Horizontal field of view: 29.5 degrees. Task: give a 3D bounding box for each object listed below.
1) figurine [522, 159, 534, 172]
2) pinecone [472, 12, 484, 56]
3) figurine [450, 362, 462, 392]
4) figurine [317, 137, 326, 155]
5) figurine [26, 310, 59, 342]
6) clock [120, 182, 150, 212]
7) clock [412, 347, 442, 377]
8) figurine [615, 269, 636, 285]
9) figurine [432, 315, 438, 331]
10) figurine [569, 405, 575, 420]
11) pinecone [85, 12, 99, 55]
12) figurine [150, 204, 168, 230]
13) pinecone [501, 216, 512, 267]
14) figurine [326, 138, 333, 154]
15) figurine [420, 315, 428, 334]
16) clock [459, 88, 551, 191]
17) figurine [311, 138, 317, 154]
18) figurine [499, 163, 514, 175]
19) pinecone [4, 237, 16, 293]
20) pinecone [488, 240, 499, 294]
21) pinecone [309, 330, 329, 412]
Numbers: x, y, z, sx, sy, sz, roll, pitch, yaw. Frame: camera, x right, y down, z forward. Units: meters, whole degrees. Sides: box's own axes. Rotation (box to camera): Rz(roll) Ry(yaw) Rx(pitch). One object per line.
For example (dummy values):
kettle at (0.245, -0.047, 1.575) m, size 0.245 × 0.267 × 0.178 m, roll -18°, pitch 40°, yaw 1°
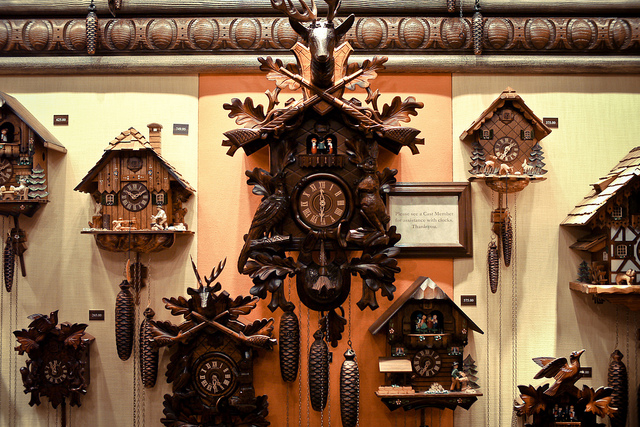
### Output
figurine at (1.779, -0.423, 10.532) m, size 0.085 × 0.108 × 0.060 m, roll -8°, pitch -14°, yaw 31°
pinecone at (1.371, -1.568, 10.657) m, size 0.083 × 0.339 × 0.172 m, roll -2°, pitch -12°, yaw 8°
figurine at (1.152, 1.391, 10.374) m, size 0.103 × 0.242 × 0.035 m, roll -1°, pitch -12°, yaw 5°
figurine at (0.018, -0.581, 10.429) m, size 0.069 × 0.139 × 0.031 m, roll 0°, pitch -11°, yaw -1°
figurine at (-2.380, 0.972, 10.556) m, size 0.238 × 0.143 × 0.258 m, roll -5°, pitch -25°, yaw 18°
clock at (-1.570, -0.135, 10.492) m, size 0.243 × 0.248 × 0.043 m, roll 2°, pitch -2°, yaw 6°
clock at (0.904, 1.268, 10.371) m, size 0.233 × 0.237 × 0.069 m, roll 2°, pitch -4°, yaw -1°
figurine at (2.576, 0.533, 10.356) m, size 0.164 × 0.180 × 0.093 m, roll 1°, pitch -7°, yaw 8°
figurine at (0.975, 0.931, 10.368) m, size 0.044 × 0.130 × 0.032 m, roll -1°, pitch -12°, yaw 4°
figurine at (2.137, 1.699, 10.404) m, size 0.043 × 0.115 × 0.016 m, roll -2°, pitch -12°, yaw 11°
pinecone at (-1.979, -1.578, 10.673) m, size 0.121 × 0.346 × 0.187 m, roll 2°, pitch -12°, yaw -12°
figurine at (-1.364, 0.028, 10.469) m, size 0.141 × 0.218 × 0.065 m, roll 1°, pitch -12°, yaw -7°
pinecone at (1.622, 0.251, 10.633) m, size 0.094 × 0.409 × 0.177 m, roll -2°, pitch -12°, yaw 8°
figurine at (0.084, -0.579, 10.424) m, size 0.053 × 0.136 × 0.040 m, roll 0°, pitch -12°, yaw 0°
figurine at (0.880, 0.941, 10.363) m, size 0.064 × 0.142 × 0.024 m, roll 0°, pitch -11°, yaw 1°
clock at (1.650, -0.647, 10.711) m, size 0.756 × 0.951 × 0.627 m, roll 1°, pitch 8°, yaw 14°
figurine at (-0.044, -0.578, 10.412) m, size 0.050 × 0.137 × 0.041 m, roll 1°, pitch -12°, yaw -8°
figurine at (1.618, -0.377, 10.497) m, size 0.143 × 0.091 × 0.092 m, roll 4°, pitch -13°, yaw -20°
pinecone at (-2.706, 0.453, 10.708) m, size 0.089 × 0.468 × 0.138 m, roll 3°, pitch -12°, yaw -13°
pinecone at (1.506, 0.462, 10.624) m, size 0.093 × 0.441 × 0.168 m, roll -2°, pitch -12°, yaw 7°
pinecone at (-0.021, 1.360, 10.453) m, size 0.127 × 0.600 × 0.195 m, roll 2°, pitch -2°, yaw 4°
